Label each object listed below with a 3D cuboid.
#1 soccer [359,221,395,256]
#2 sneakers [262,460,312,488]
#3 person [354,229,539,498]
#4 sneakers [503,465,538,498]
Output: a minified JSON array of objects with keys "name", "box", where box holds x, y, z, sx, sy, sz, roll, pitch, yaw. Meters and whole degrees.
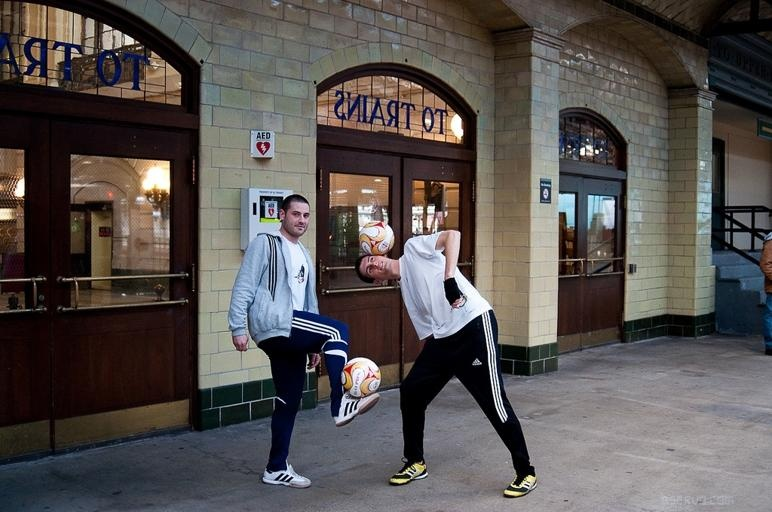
[{"name":"soccer","box":[-0.031,-0.150,5.142,0.241,0.274,0.242,-11,-10,-34]},{"name":"sneakers","box":[-0.859,1.931,5.285,0.460,0.205,0.169,3,-3,9]},{"name":"person","box":[0.515,0.895,5.020,1.336,2.219,0.606,2,4,24]},{"name":"sneakers","box":[1.156,1.914,5.095,0.134,0.155,0.385,-2,-1,40]}]
